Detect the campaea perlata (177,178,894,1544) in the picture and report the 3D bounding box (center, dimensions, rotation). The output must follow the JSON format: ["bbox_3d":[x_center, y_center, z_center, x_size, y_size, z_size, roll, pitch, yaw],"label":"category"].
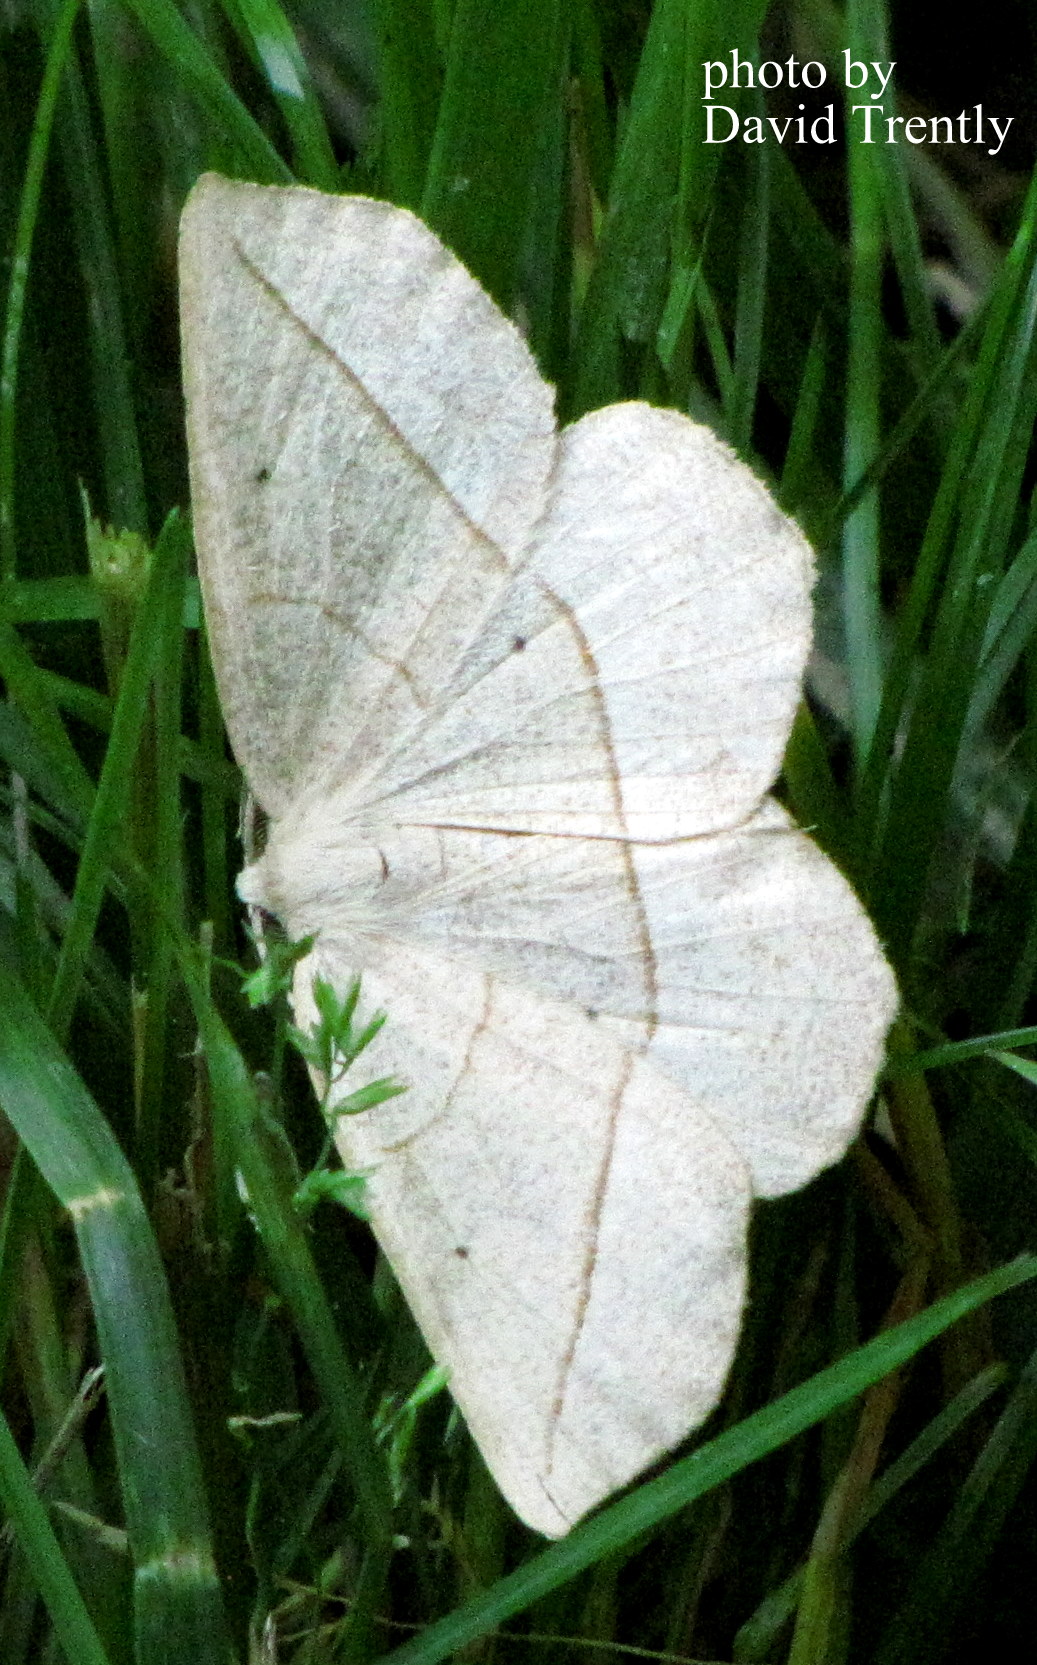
[{"bbox_3d":[0.006,-0.002,0.476,0.171,0.081,0.361,-13,107,0],"label":"campaea perlata"}]
